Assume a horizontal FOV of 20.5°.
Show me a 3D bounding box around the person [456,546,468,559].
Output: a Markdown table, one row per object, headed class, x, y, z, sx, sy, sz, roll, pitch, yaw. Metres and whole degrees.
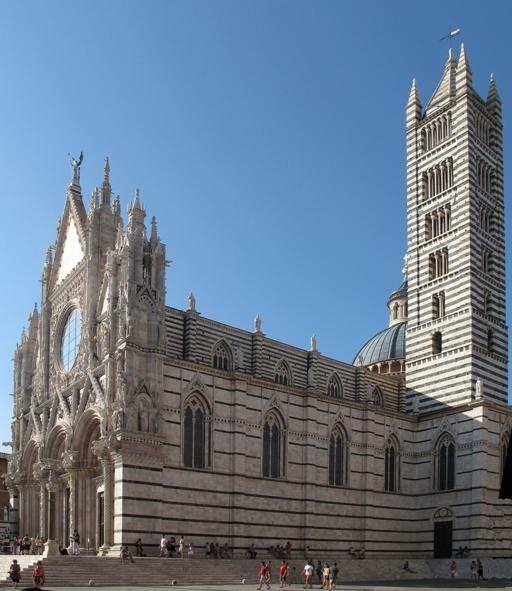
| class | x | y | z | sx | sy | sz | roll | pitch | yaw |
| --- | --- | --- | --- | --- | --- | --- | --- | --- | --- |
| person | 10.129 | 12.814 | 70.165 | 0.242 | 0.663 | 1.059 | 10 | -23 | -23 |
